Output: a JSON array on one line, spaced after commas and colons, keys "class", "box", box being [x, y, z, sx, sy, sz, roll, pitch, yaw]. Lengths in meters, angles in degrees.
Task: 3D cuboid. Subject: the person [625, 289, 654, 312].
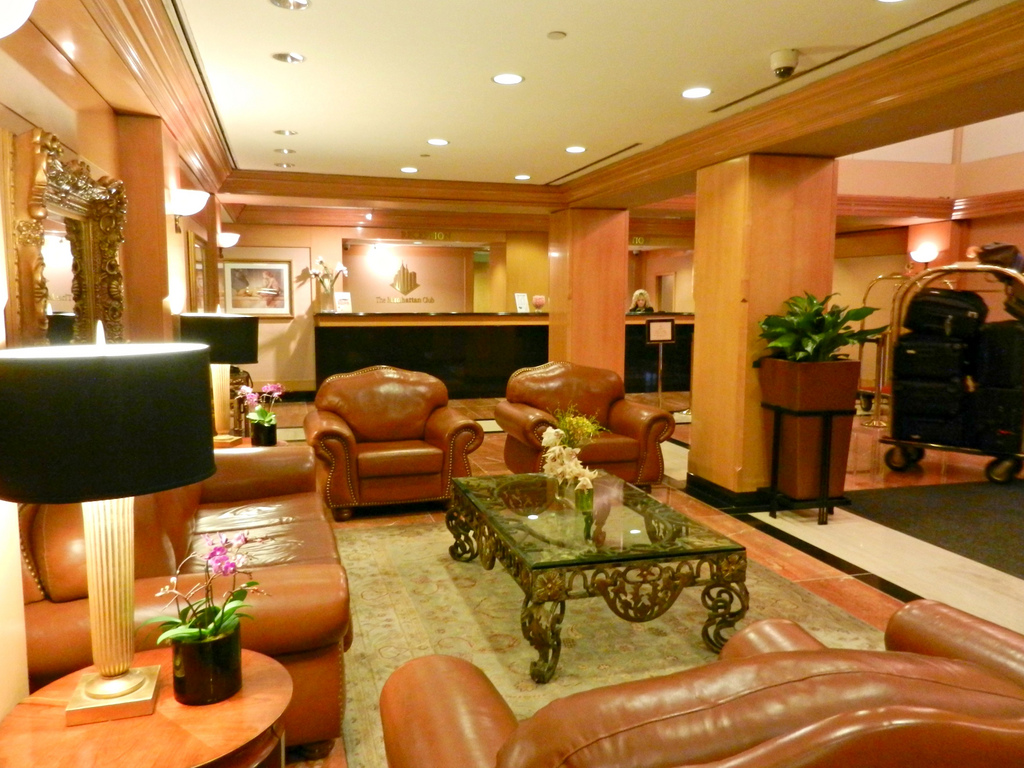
[{"class": "person", "box": [1.906, -1.194, 11.005, 0.295, 0.315, 0.785, 1, 9, 11]}]

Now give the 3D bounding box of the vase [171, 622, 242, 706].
[{"class": "vase", "box": [-0.853, 0.782, 2.091, 0.179, 0.165, 0.188, 0, 0, 15]}]

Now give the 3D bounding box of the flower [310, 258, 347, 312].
[{"class": "flower", "box": [-2.729, -1.398, 10.890, 0.789, 0.686, 0.664, -1, 11, -10]}]

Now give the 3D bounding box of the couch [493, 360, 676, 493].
[{"class": "couch", "box": [0.486, 0.258, 5.700, 1.368, 0.874, 0.966, 1, 0, -14]}]

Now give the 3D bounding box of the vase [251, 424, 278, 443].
[{"class": "vase", "box": [-1.545, 0.312, 4.609, 0.180, 0.148, 0.121, 0, 20, -19]}]

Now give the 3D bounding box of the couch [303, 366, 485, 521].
[{"class": "couch", "box": [-0.889, 0.355, 5.444, 1.483, 1.005, 0.989, -1, 4, -19]}]

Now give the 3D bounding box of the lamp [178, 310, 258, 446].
[{"class": "lamp", "box": [-1.911, -0.091, 4.764, 0.452, 0.627, 0.417, -5, 21, 4]}]

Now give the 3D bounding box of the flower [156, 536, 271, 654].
[{"class": "flower", "box": [-0.857, 0.673, 2.122, 0.262, 0.401, 0.208, -8, -12, -6]}]

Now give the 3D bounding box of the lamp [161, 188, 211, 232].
[{"class": "lamp", "box": [-2.038, -1.102, 4.647, 0.200, 0.211, 0.587, -4, 9, -18]}]

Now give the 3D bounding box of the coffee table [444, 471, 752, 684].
[{"class": "coffee table", "box": [0.452, 0.771, 3.376, 0.876, 0.359, 1.166, 0, 5, -17]}]

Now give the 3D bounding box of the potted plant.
[{"class": "potted plant", "box": [2.045, 0.159, 5.074, 0.794, 1.514, 0.513, 3, 11, 22]}]

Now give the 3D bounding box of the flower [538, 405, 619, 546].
[{"class": "flower", "box": [0.362, 0.524, 4.162, 0.471, 0.832, 0.348, -4, 20, -2]}]
